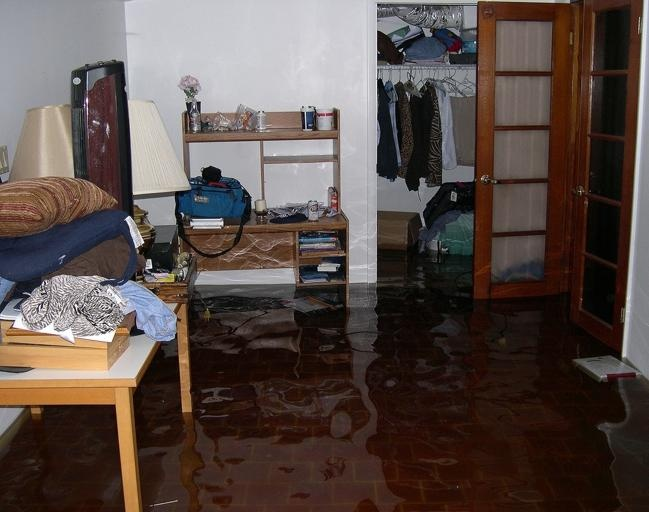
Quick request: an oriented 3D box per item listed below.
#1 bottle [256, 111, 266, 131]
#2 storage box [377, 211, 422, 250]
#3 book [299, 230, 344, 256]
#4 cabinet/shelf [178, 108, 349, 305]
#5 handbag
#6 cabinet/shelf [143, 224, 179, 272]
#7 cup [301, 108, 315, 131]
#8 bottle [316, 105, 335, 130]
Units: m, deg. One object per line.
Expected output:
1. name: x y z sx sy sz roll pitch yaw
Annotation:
1. bottle: -0.567 -1.227 4.686 0.101 0.171 0.318 -4 18 -5
2. storage box: 0.916 -0.310 6.469 0.543 0.253 0.510 1 12 7
3. book: -0.029 -0.113 4.648 0.403 0.181 0.252 -2 18 0
4. cabinet/shelf: -0.543 -0.502 4.656 1.915 1.908 0.784 -1 12 -5
5. handbag: -0.931 -0.521 4.545 0.583 0.316 0.294 6 18 12
6. cabinet/shelf: -1.077 -0.042 3.442 0.105 0.111 0.335 1 14 -3
7. cup: -0.139 -1.243 4.655 0.123 0.201 0.274 -2 18 1
8. bottle: 0.008 -1.235 4.660 0.167 0.184 0.255 -2 18 0
